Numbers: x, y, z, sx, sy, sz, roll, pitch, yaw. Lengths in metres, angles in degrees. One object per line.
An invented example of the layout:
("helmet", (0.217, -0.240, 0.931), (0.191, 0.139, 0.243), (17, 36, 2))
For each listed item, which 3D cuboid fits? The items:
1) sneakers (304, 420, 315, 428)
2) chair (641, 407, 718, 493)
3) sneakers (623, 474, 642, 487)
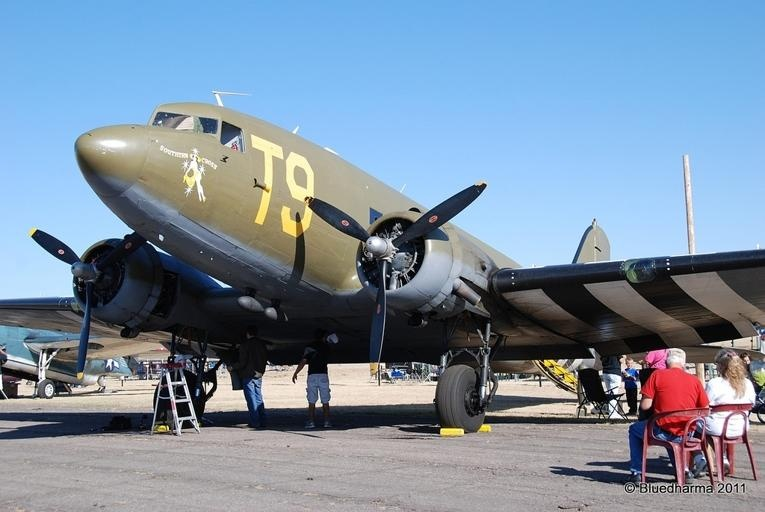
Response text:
("sneakers", (-1.567, 3.651, 14.870), (0.160, 0.087, 0.145), (0, 1, -1))
("chair", (4.123, 2.629, 9.578), (0.828, 0.919, 0.760), (6, -11, -23))
("sneakers", (3.391, 3.059, 9.415), (0.227, 0.165, 0.457), (-4, -12, 16))
